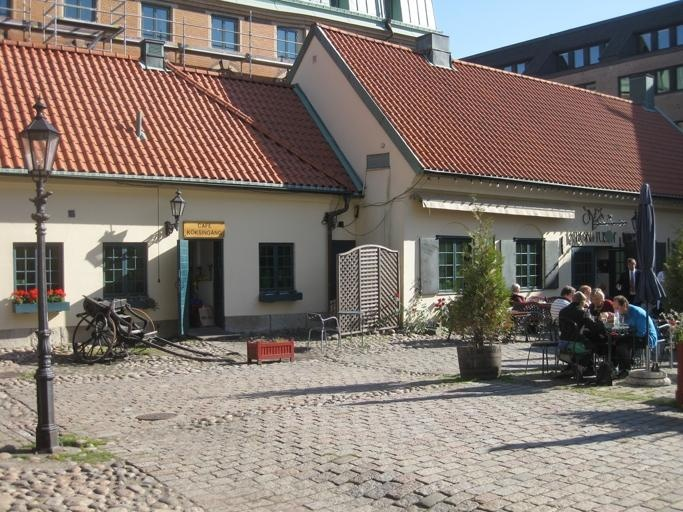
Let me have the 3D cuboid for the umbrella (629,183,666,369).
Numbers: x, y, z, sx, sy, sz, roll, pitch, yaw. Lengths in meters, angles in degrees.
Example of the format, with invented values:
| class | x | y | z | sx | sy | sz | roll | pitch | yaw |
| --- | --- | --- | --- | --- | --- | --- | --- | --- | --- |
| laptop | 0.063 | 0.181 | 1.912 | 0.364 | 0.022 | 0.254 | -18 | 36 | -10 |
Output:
| class | x | y | z | sx | sy | sz | roll | pitch | yaw |
| --- | --- | --- | --- | --- | --- | --- | --- | --- | --- |
| umbrella | 6.850 | 0.518 | 19.841 | 0.813 | 4.341 | 0.684 | -8 | 6 | -42 |

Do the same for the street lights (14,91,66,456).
| class | x | y | z | sx | sy | sz | roll | pitch | yaw |
| --- | --- | --- | --- | --- | --- | --- | --- | --- | --- |
| street lights | -5.252 | 0.224 | 15.679 | 0.858 | 6.135 | 0.943 | -1 | 1 | -26 |

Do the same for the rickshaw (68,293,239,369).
| class | x | y | z | sx | sy | sz | roll | pitch | yaw |
| --- | --- | --- | --- | --- | --- | --- | --- | --- | --- |
| rickshaw | -4.687 | 1.839 | 21.894 | 3.818 | 1.539 | 1.820 | 4 | 2 | 17 |
